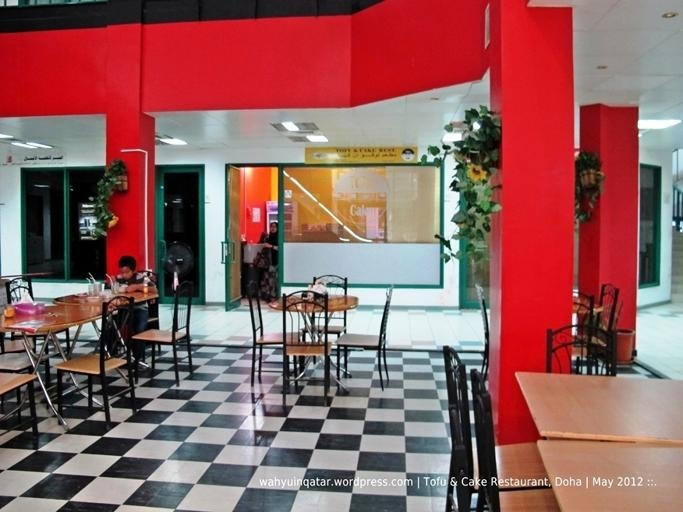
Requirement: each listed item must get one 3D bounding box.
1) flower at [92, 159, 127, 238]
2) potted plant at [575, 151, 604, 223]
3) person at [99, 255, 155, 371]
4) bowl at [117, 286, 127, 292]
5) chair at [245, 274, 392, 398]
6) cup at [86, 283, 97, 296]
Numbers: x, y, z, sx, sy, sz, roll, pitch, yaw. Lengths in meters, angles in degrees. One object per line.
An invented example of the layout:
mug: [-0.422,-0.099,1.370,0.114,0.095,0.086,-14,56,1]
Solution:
flower: [-3.284,-0.816,7.766,0.526,1.082,0.238,0,4,16]
potted plant: [3.275,-0.934,7.337,0.336,0.918,0.425,1,4,23]
person: [-2.790,0.719,7.297,0.601,1.404,0.506,-3,0,16]
bowl: [-2.819,0.416,7.128,0.073,0.046,0.074,2,3,0]
chair: [-0.218,0.870,7.108,1.336,1.178,2.594,-1,4,-4]
cup: [-3.128,0.408,6.928,0.143,0.163,0.144,1,-1,0]
